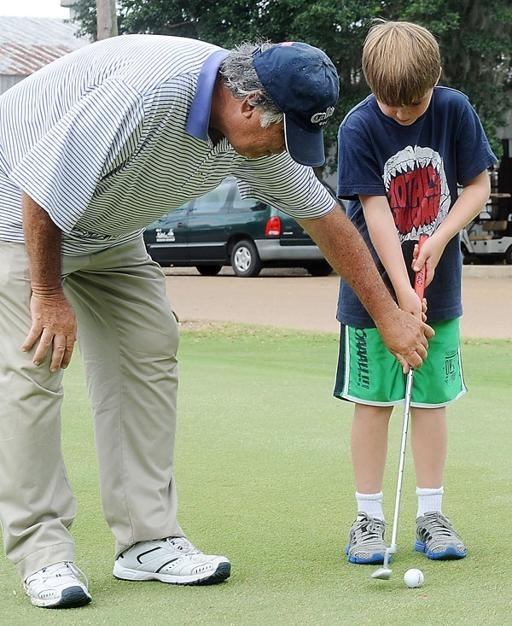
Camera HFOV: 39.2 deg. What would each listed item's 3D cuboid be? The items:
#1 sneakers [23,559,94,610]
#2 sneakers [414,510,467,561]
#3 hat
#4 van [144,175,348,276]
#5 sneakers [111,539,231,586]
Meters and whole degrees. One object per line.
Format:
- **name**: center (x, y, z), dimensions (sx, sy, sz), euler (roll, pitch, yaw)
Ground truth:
- **sneakers**: center (-0.471, 0.650, 1.703), dimensions (0.144, 0.080, 0.133), euler (-1, 6, -19)
- **sneakers**: center (0.533, 0.654, 2.084), dimensions (0.075, 0.070, 0.171), euler (1, -6, -9)
- **hat**: center (0.098, -0.481, 1.648), dimensions (0.224, 0.283, 0.100), euler (-3, 7, -29)
- **van**: center (-0.558, -1.499, 12.395), dimensions (3.385, 1.253, 1.923), euler (7, 7, 34)
- **sneakers**: center (-0.232, 0.662, 1.970), dimensions (0.331, 0.126, 0.120), euler (0, -9, 17)
